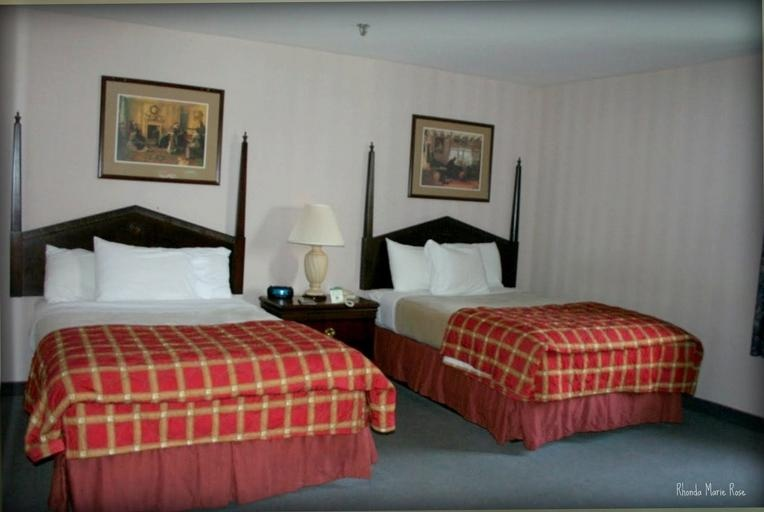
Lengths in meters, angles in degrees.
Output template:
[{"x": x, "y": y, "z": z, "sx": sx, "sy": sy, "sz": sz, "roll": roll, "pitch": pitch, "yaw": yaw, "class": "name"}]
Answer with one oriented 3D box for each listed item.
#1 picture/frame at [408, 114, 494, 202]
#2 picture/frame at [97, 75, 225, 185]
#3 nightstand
[{"x": 0.706, "y": -1.081, "z": 6.189, "sx": 0.972, "sy": 0.844, "sz": 0.092, "roll": 3, "pitch": 8, "yaw": -18, "class": "picture/frame"}, {"x": -2.050, "y": -1.152, "z": 5.139, "sx": 1.056, "sy": 0.916, "sz": 0.044, "roll": -1, "pitch": 7, "yaw": -18, "class": "picture/frame"}, {"x": -0.586, "y": 0.468, "z": 5.370, "sx": 0.842, "sy": 0.826, "sz": 0.631, "roll": -2, "pitch": 8, "yaw": -27, "class": "nightstand"}]
